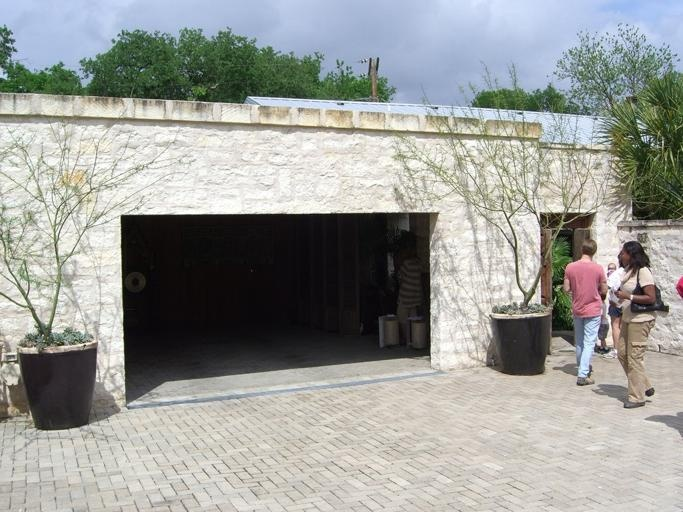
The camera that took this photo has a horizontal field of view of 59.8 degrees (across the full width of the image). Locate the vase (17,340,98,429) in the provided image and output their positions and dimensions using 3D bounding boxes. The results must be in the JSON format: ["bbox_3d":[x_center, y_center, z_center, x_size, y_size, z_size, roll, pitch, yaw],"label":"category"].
[{"bbox_3d":[-3.589,1.623,7.606,0.888,1.026,0.908,-3,-2,26],"label":"vase"}]

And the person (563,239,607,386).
[{"bbox_3d":[3.558,1.000,8.731,0.572,1.853,0.299,0,4,20],"label":"person"}]

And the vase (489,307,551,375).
[{"bbox_3d":[2.823,1.388,9.730,0.993,0.906,0.945,-4,-3,27],"label":"vase"}]

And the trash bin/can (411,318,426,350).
[{"bbox_3d":[1.554,1.561,11.898,0.306,0.606,0.174,-1,4,6],"label":"trash bin/can"}]

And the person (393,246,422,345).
[{"bbox_3d":[1.384,0.797,12.009,0.518,2.029,0.377,-1,4,4],"label":"person"}]
